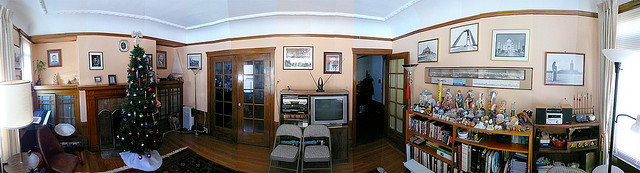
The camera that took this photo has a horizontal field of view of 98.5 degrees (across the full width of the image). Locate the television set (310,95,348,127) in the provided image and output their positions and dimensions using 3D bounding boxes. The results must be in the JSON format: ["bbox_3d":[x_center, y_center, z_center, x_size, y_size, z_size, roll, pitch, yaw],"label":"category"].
[{"bbox_3d":[0.439,1.360,16.030,3.591,1.476,1.435,0,0,-1],"label":"television set"}]

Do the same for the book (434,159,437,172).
[{"bbox_3d":[6.528,4.407,15.661,0.134,0.666,0.053,0,2,17],"label":"book"}]

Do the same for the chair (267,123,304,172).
[{"bbox_3d":[-1.852,3.482,15.810,1.931,2.706,0.855,-1,2,-2],"label":"chair"}]

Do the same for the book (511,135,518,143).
[{"bbox_3d":[10.669,2.884,15.243,0.345,0.378,0.033,-1,2,0],"label":"book"}]

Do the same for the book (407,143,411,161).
[{"bbox_3d":[5.104,3.771,15.997,0.318,0.702,1.009,1,2,22],"label":"book"}]

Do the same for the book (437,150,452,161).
[{"bbox_3d":[6.984,3.816,15.540,0.737,0.491,0.048,0,3,18],"label":"book"}]

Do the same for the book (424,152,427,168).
[{"bbox_3d":[6.013,4.161,15.788,0.140,0.748,0.053,-1,2,11],"label":"book"}]

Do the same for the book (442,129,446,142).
[{"bbox_3d":[6.930,2.713,15.531,0.164,0.555,0.077,-1,2,-2],"label":"book"}]

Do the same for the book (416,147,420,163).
[{"bbox_3d":[5.606,3.869,15.894,0.176,0.750,0.040,-1,2,10],"label":"book"}]

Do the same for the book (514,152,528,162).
[{"bbox_3d":[11.051,3.848,15.224,0.752,0.128,0.680,3,2,35],"label":"book"}]

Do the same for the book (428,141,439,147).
[{"bbox_3d":[6.436,3.218,15.685,0.728,0.122,0.101,14,46,22],"label":"book"}]

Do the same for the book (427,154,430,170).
[{"bbox_3d":[6.160,4.224,15.754,0.099,0.811,0.061,-1,2,11],"label":"book"}]
